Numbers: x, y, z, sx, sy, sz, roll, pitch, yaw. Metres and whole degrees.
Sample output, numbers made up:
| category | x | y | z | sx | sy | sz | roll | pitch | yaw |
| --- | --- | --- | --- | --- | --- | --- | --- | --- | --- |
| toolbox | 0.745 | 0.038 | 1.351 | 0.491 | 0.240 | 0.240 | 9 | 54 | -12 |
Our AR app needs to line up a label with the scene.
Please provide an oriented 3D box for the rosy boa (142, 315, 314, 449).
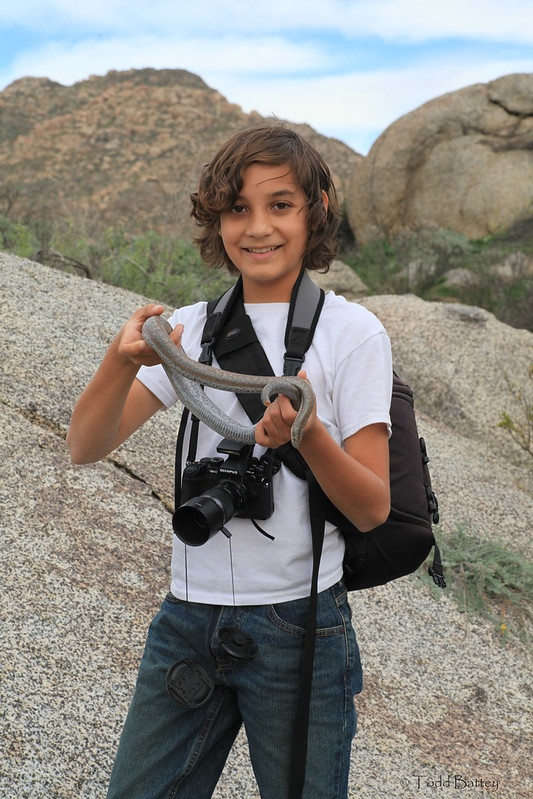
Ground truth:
| category | x | y | z | sx | sy | sz | roll | pitch | yaw |
| --- | --- | --- | --- | --- | --- | --- | --- | --- | --- |
| rosy boa | -0.109 | -0.023 | 2.912 | 0.676 | 0.422 | 0.213 | 19 | 35 | 31 |

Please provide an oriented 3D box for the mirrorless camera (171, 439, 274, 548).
| category | x | y | z | sx | sy | sz | roll | pitch | yaw |
| --- | --- | --- | --- | --- | --- | --- | --- | --- | --- |
| mirrorless camera | -0.128 | 0.305 | 2.906 | 0.335 | 0.225 | 0.363 | 2 | 27 | 1 |
